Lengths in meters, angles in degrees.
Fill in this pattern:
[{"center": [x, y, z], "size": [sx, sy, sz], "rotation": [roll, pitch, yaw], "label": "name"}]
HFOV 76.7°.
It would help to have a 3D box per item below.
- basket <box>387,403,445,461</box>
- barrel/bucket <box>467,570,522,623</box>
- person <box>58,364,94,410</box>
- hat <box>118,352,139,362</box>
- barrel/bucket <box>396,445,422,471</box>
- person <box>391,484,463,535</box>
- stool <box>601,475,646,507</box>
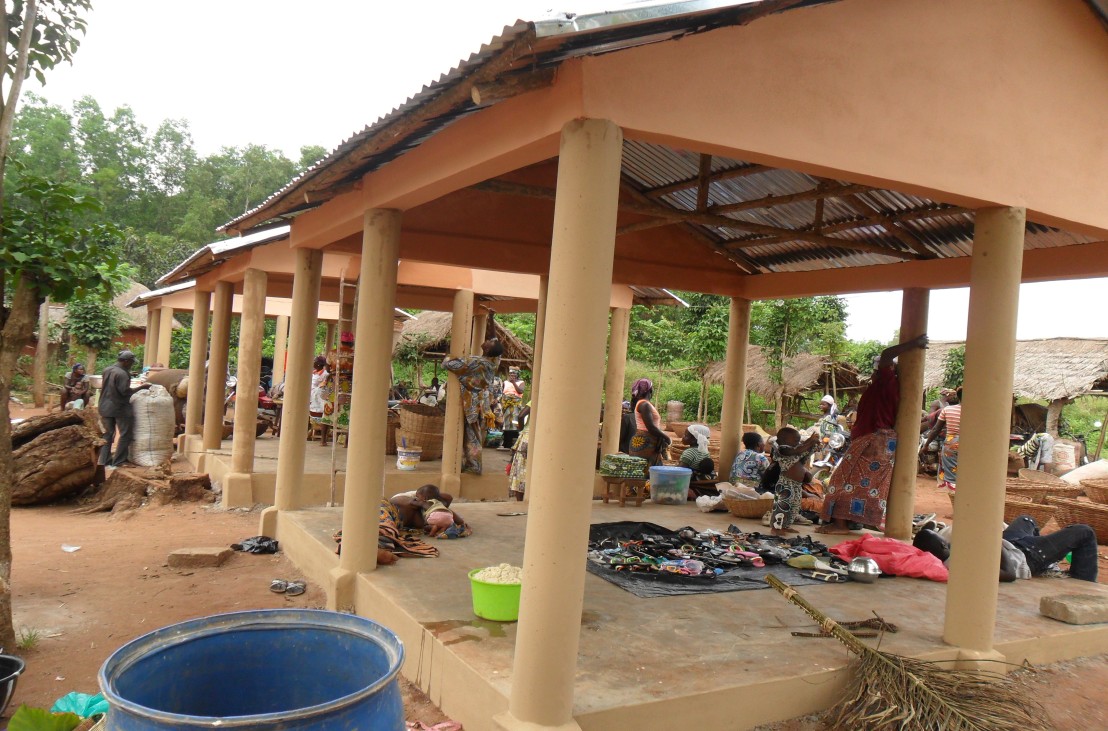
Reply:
[{"center": [-2.676, 1.282, 13.708], "size": [1.161, 0.888, 1.102], "rotation": [2, -6, -16], "label": "basket"}, {"center": [-0.516, 1.900, 6.139], "size": [0.565, 0.283, 0.513], "rotation": [1, -12, -1], "label": "barrel/bucket"}, {"center": [-12.822, 0.576, 18.694], "size": [0.618, 1.043, 1.530], "rotation": [-8, 10, -32], "label": "person"}, {"center": [-7.721, -0.147, 12.648], "size": [0.256, 0.156, 0.342], "rotation": [8, -14, -43], "label": "hat"}, {"center": [-2.564, 1.607, 12.281], "size": [0.430, 0.305, 0.393], "rotation": [2, -3, 0], "label": "barrel/bucket"}, {"center": [-1.587, 1.687, 8.466], "size": [0.754, 0.286, 0.549], "rotation": [0, -4, 42], "label": "person"}, {"center": [1.069, 1.883, 10.783], "size": [0.535, 0.306, 0.593], "rotation": [3, -9, -19], "label": "stool"}]
